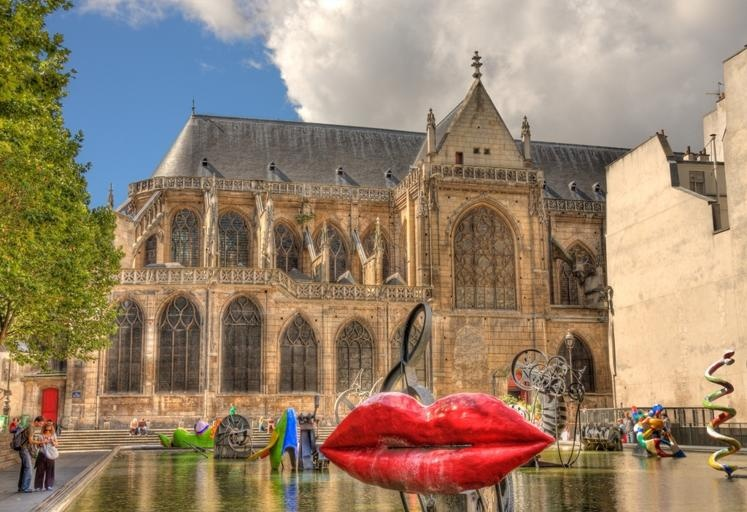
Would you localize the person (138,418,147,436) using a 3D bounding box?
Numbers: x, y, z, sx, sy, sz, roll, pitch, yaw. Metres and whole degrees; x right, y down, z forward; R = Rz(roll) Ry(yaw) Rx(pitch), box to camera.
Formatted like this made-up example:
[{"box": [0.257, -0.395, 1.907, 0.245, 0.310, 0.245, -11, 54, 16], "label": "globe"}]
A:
[{"box": [-11.954, 8.753, 43.486, 0.460, 0.857, 0.619, 4, -19, -15], "label": "person"}]

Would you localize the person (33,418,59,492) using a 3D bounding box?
[{"box": [-9.460, 5.731, 24.245, 0.569, 1.959, 1.032, 6, -19, -20], "label": "person"}]

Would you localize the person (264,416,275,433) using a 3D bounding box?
[{"box": [-5.420, 8.691, 43.868, 0.460, 0.984, 1.232, 2, -19, -8], "label": "person"}]

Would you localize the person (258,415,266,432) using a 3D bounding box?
[{"box": [-5.867, 8.704, 43.979, 0.405, 1.116, 0.570, 1, -14, -6], "label": "person"}]
